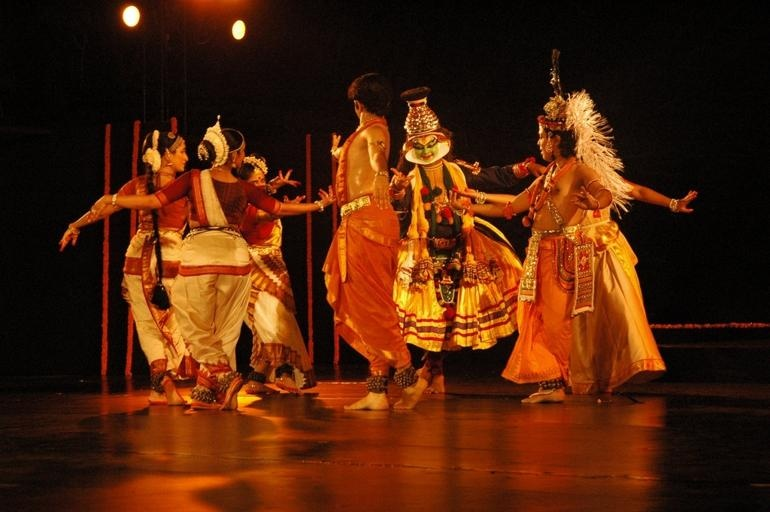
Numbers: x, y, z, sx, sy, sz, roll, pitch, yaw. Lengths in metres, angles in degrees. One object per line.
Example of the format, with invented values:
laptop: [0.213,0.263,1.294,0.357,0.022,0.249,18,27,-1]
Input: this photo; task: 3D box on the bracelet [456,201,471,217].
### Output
bracelet: [0.544,-0.324,6.024,0.066,0.096,0.095,0,10,23]

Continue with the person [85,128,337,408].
person: [-1.119,0.040,5.663,1.177,1.869,0.327,1,-6,-9]

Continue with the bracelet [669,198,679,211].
bracelet: [1.936,-0.343,5.879,0.079,0.073,0.029,13,11,30]

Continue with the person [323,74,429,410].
person: [-0.141,0.038,5.510,0.534,1.835,0.414,-3,-6,28]

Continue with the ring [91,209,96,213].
ring: [-1.861,-0.288,5.583,0.038,0.019,0.010,3,-8,26]

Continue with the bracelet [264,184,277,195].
bracelet: [-0.901,-0.535,6.806,0.102,0.112,0.056,11,4,-2]

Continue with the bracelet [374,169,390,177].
bracelet: [-0.026,-0.502,5.339,0.079,0.048,0.083,0,-5,-2]
